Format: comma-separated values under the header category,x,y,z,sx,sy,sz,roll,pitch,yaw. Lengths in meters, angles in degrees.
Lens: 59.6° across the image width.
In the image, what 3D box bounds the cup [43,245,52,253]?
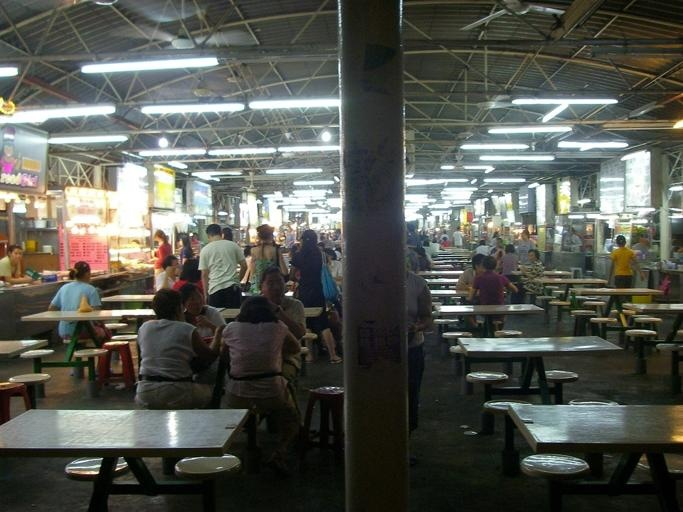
category,x,y,z,sx,sy,sz,roll,pitch,yaw
cup,-6.761,-0.147,13.629,0.253,0.130,0.210,0,2,0

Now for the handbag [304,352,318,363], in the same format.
category,x,y,z,sx,sy,sz,roll,pitch,yaw
handbag,-0.488,1.609,9.441,0.188,0.069,0.224,2,2,2

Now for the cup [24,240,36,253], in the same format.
category,x,y,z,sx,sy,sz,roll,pitch,yaw
cup,-7.093,-0.206,13.589,0.308,0.209,0.264,0,5,-17

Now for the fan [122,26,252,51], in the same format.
category,x,y,z,sx,sy,sz,roll,pitch,yaw
fan,-3.449,-4.648,12.753,2.135,0.161,1.880,0,2,14
